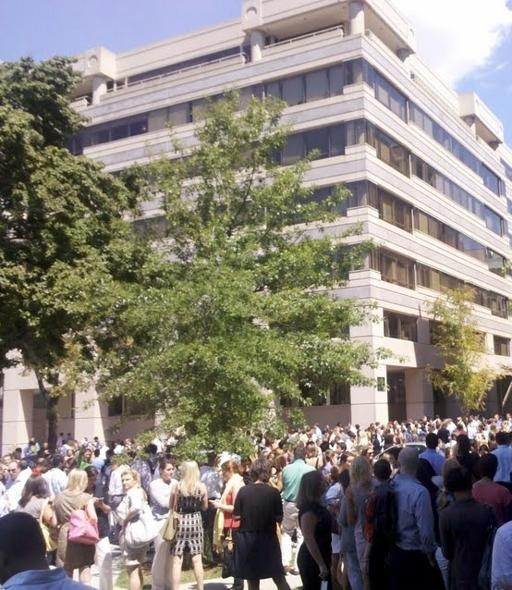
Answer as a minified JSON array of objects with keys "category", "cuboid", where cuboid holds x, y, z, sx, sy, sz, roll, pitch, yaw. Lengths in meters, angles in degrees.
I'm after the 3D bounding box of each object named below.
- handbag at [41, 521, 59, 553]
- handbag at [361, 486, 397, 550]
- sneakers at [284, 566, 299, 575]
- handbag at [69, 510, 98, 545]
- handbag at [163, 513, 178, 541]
[{"category":"handbag","cuboid":[-2.431,2.861,7.822,0.179,0.375,0.486,0,-11,-7]},{"category":"handbag","cuboid":[1.188,2.071,6.196,0.179,0.602,0.310,9,-15,-42]},{"category":"sneakers","cuboid":[0.545,4.134,9.914,0.105,0.073,0.149,12,-15,41]},{"category":"handbag","cuboid":[-1.978,2.659,7.572,0.159,0.318,0.337,-35,-45,29]},{"category":"handbag","cuboid":[-1.073,2.892,8.227,0.172,0.327,0.130,-9,-14,35]}]
